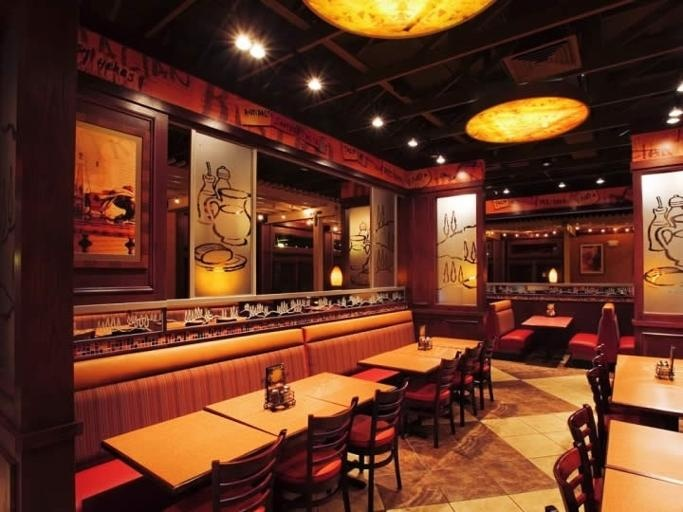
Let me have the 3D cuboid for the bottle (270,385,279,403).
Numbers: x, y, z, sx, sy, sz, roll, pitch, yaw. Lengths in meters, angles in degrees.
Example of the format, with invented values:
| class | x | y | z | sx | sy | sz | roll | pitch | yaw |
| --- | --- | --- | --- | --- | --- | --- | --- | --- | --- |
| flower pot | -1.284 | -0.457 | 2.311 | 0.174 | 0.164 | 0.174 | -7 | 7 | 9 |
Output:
| class | x | y | z | sx | sy | sz | roll | pitch | yaw |
| --- | --- | --- | --- | --- | --- | --- | --- | --- | --- |
| bottle | -0.610 | 1.281 | 4.379 | 0.085 | 0.111 | 0.035 | 11 | -15 | -26 |

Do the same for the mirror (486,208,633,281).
| class | x | y | z | sx | sy | sz | roll | pitch | yaw |
| --- | --- | --- | --- | --- | --- | --- | --- | --- | --- |
| mirror | 5.967 | -0.152 | 13.146 | 1.419 | 1.890 | 3.775 | -3 | -1 | -42 |

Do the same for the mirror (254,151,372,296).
| class | x | y | z | sx | sy | sz | roll | pitch | yaw |
| --- | --- | --- | --- | --- | --- | --- | --- | --- | --- |
| mirror | -0.620 | -0.690 | 9.580 | 0.976 | 2.198 | 2.488 | -7 | -9 | 35 |

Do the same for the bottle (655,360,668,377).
| class | x | y | z | sx | sy | sz | roll | pitch | yaw |
| --- | --- | --- | --- | --- | --- | --- | --- | --- | --- |
| bottle | 3.228 | 1.141 | 4.844 | 0.116 | 0.147 | 0.162 | -2 | -9 | 37 |

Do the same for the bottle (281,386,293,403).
| class | x | y | z | sx | sy | sz | roll | pitch | yaw |
| --- | --- | --- | --- | --- | --- | --- | --- | --- | --- |
| bottle | -0.496 | 1.289 | 4.466 | 0.127 | 0.137 | 0.122 | 2 | -3 | -40 |

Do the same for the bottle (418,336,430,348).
| class | x | y | z | sx | sy | sz | roll | pitch | yaw |
| --- | --- | --- | --- | --- | --- | --- | --- | --- | --- |
| bottle | 1.123 | 1.154 | 6.523 | 0.139 | 0.168 | 0.182 | 3 | -3 | -42 |
